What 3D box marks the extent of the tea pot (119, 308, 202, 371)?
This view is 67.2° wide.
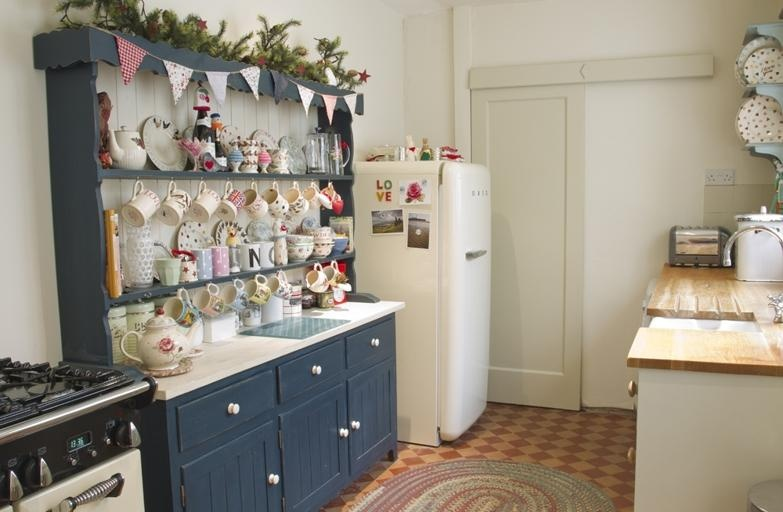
[{"bbox_3d":[-1.077,0.379,2.734,0.348,0.274,0.231,-3,8,-39],"label":"tea pot"}]

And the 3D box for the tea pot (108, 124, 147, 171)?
[{"bbox_3d":[-1.274,-0.504,2.777,0.180,0.224,0.229,2,13,7],"label":"tea pot"}]

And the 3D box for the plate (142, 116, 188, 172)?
[{"bbox_3d":[-1.122,-0.573,2.984,0.033,0.255,0.246,-10,49,28],"label":"plate"}]

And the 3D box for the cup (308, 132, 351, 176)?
[{"bbox_3d":[-0.324,-0.657,3.782,0.204,0.306,0.342,5,7,44],"label":"cup"}]

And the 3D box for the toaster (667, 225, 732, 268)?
[{"bbox_3d":[2.214,-0.073,4.260,0.454,0.336,0.271,2,6,25],"label":"toaster"}]
